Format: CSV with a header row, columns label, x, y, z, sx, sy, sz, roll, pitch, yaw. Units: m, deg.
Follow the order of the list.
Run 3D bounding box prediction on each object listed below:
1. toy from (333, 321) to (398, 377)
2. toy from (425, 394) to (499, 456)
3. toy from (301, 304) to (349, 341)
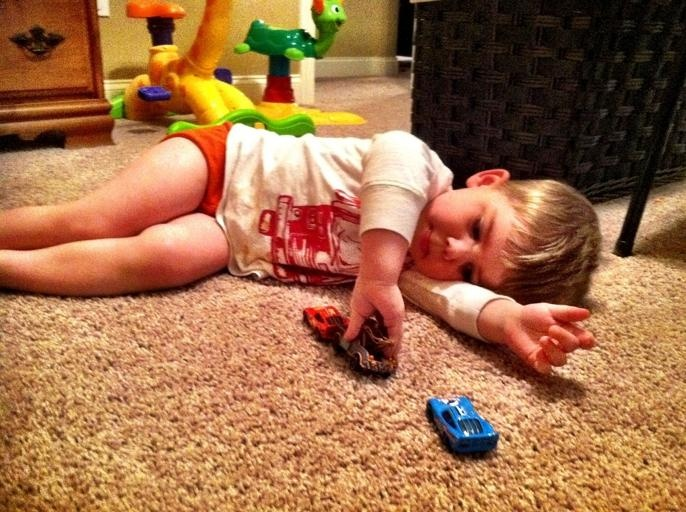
label,x,y,z,sx,sy,sz,roll,pitch,yaw
toy,0.040,0.147,0.775,0.070,0.058,0.098,11,28,-39
toy,0.158,0.223,0.683,0.075,0.023,0.099,-3,20,-7
toy,-0.031,0.108,0.865,0.059,0.023,0.081,-13,32,-24
